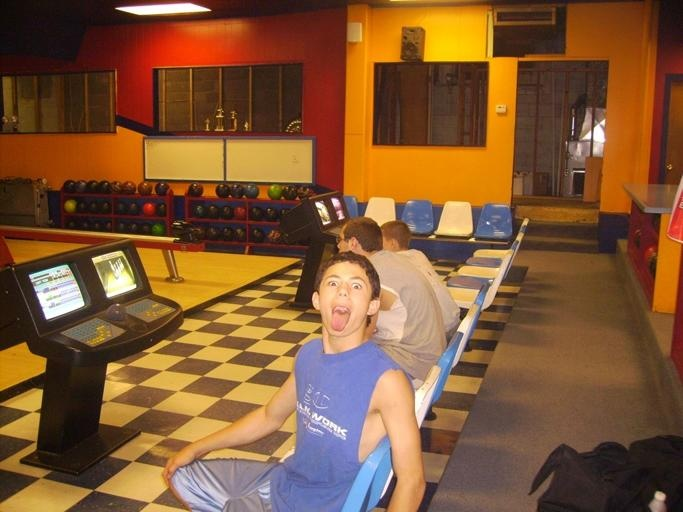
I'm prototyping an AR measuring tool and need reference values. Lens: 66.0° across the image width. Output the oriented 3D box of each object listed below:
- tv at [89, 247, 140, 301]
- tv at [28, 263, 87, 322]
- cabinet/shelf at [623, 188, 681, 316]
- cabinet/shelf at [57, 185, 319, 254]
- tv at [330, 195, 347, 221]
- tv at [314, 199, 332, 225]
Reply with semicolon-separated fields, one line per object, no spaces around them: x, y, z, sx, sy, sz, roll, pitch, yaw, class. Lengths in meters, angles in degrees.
-1.421;0.118;3.251;0.080;0.237;0.271;-22;7;19;tv
-1.581;0.207;2.895;0.038;0.212;0.291;-16;9;10;tv
3.078;-0.008;5.228;0.343;0.690;1.357;3;16;17;cabinet/shelf
-3.054;-0.750;9.899;4.876;1.402;0.591;1;12;17;cabinet/shelf
-0.051;-0.598;6.664;0.062;0.278;0.271;-14;-6;15;tv
-0.219;-0.518;6.276;0.066;0.251;0.264;-13;-6;25;tv
